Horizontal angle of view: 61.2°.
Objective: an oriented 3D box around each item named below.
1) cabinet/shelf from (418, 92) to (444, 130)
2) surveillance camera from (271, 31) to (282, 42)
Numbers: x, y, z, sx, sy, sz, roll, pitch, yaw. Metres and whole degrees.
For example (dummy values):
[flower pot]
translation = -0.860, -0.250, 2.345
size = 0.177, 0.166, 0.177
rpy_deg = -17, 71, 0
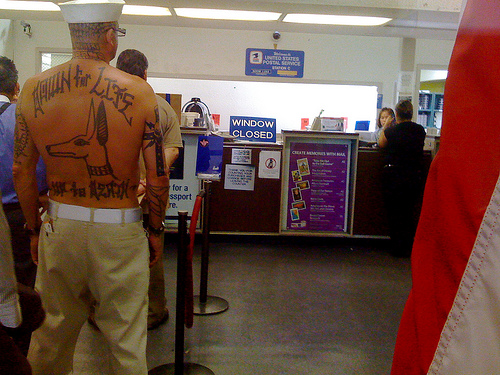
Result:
[cabinet/shelf]
translation = 4.571, -1.942, 10.670
size = 0.666, 0.712, 0.227
rpy_deg = 2, 10, 20
[surveillance camera]
translation = 0.555, -3.184, 8.972
size = 0.188, 0.171, 0.081
rpy_deg = 2, 8, 1
